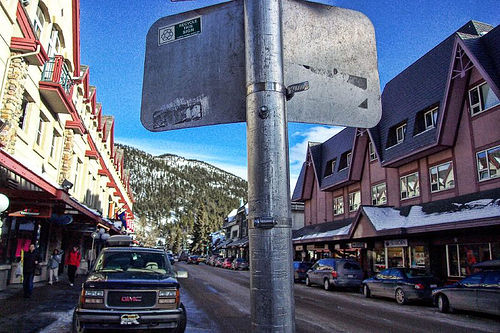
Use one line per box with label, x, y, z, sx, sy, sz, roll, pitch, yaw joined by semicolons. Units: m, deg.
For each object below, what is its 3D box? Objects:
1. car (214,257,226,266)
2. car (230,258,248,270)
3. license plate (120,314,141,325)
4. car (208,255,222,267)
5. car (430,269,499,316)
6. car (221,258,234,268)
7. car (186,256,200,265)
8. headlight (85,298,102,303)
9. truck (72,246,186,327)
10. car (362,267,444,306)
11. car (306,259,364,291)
car;-5.011;15.204;62.121;1.056;0.994;1.864;1;0;0
car;-1.450;12.731;51.200;1.054;1.652;2.673;14;-24;-37
license plate;-3.247;4.146;10.566;0.548;0.265;0.055;2;-18;-7
car;-6.461;16.109;66.620;1.288;1.383;2.449;2;-5;-6
car;8.782;5.165;16.094;1.283;1.116;2.991;5;-9;-12
car;-3.230;13.756;55.524;1.022;0.969;1.798;4;-9;-9
car;-10.262;16.858;70.783;2.076;1.431;1.734;0;-19;0
headlight;-4.282;3.658;10.657;0.425;0.116;0.085;-2;-19;5
truck;-3.475;3.347;11.284;1.926;1.686;3.304;3;-28;-7
car;7.464;5.995;19.634;1.150;1.818;3.496;13;-24;-34
car;5.063;7.158;25.673;1.799;2.077;4.865;11;-23;-30
